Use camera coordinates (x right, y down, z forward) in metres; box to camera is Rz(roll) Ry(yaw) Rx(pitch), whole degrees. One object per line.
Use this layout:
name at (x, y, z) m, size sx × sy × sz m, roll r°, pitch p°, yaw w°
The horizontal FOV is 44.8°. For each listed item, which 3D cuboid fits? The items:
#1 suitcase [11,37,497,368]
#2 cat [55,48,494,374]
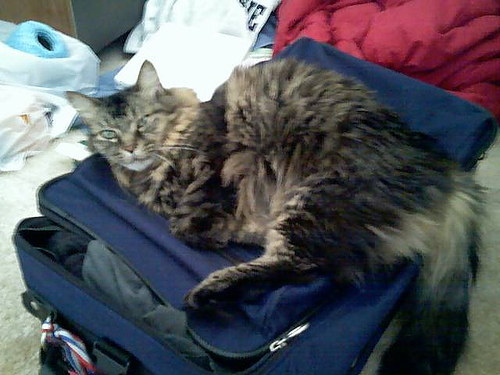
suitcase at (0.042, 0.096, 1.669) m, size 0.811 × 0.367 × 1.057 m, roll 24°, pitch 60°, yaw 24°
cat at (0.089, 0.041, 1.737) m, size 1.059 × 0.329 × 0.788 m, roll 11°, pitch 61°, yaw 21°
